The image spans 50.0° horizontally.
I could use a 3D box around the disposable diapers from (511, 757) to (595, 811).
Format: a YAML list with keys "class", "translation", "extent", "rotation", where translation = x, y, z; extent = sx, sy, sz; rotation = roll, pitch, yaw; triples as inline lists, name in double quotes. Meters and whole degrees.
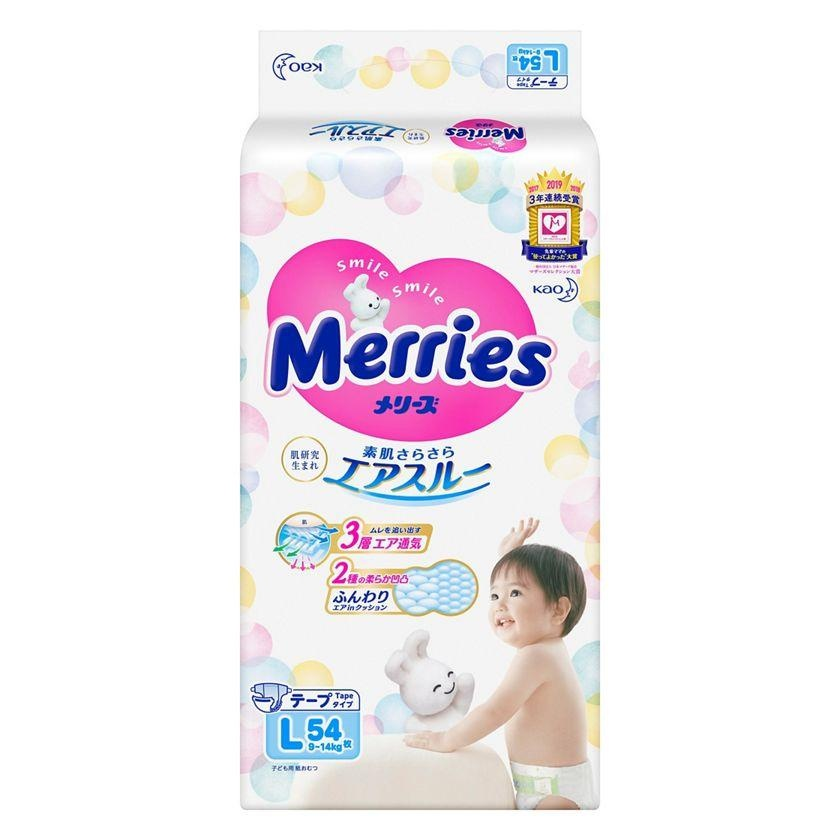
- class: "disposable diapers"
  translation: [0.333, 0.924, 2.275]
  extent: [0.212, 0.118, 0.023]
  rotation: [0, 2, -2]
